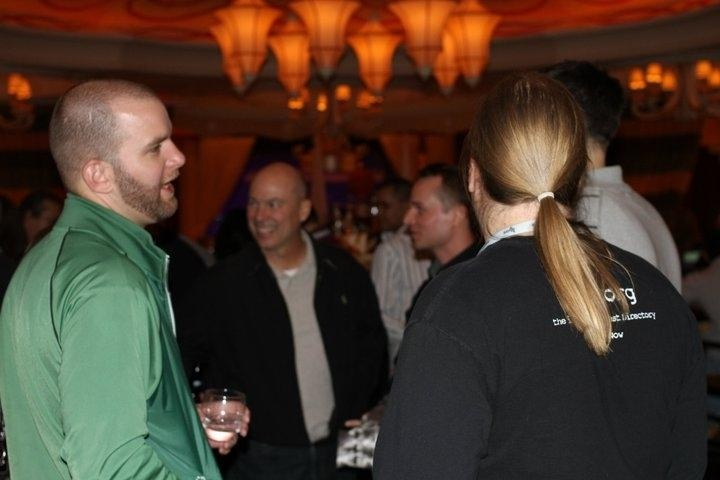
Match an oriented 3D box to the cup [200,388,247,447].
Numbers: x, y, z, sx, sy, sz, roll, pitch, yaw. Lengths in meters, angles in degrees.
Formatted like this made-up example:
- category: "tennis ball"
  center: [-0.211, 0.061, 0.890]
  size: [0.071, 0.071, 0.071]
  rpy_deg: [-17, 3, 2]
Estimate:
- category: "cup"
  center: [-0.516, 0.677, 2.815]
  size: [0.195, 0.194, 0.188]
  rpy_deg: [0, -3, 0]
